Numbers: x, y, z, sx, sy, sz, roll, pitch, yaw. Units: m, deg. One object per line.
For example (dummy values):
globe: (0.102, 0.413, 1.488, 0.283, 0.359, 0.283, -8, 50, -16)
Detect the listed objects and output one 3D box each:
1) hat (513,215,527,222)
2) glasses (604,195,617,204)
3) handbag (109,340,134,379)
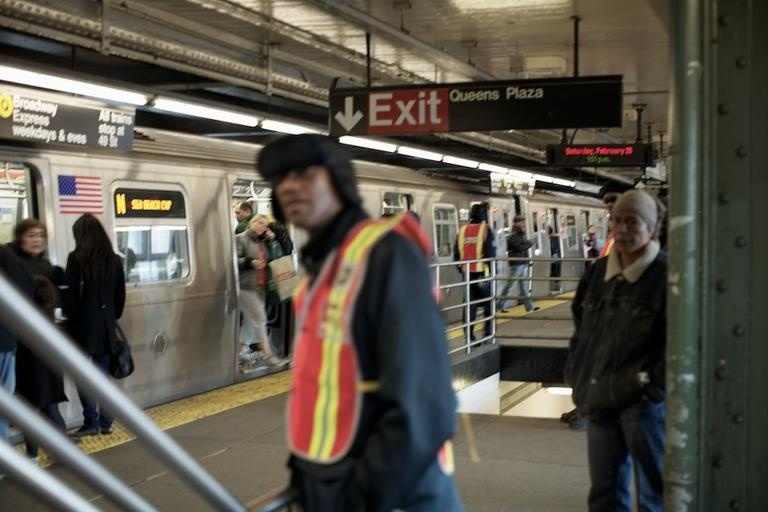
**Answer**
hat: (2.863, -0.778, 12.677, 0.323, 0.074, 0.317, -2, 0, 33)
glasses: (2.212, -0.544, 5.876, 0.096, 0.062, 0.084, -5, -1, 34)
handbag: (-2.569, 1.014, 5.852, 0.196, 0.402, 0.253, -3, 6, -16)
